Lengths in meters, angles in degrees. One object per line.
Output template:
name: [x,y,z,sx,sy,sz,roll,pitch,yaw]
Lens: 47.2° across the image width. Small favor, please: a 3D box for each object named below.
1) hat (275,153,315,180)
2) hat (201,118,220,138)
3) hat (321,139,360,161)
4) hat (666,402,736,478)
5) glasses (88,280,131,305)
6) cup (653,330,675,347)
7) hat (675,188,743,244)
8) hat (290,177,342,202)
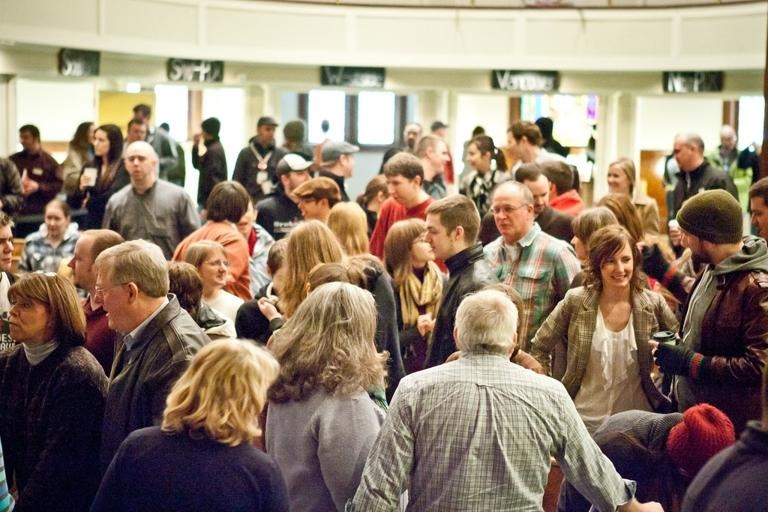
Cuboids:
hat: [-0.846,-0.837,8.311,0.287,0.183,0.218,-18,9,15]
hat: [-2.191,-1.640,11.098,0.228,0.279,0.205,-4,10,-5]
hat: [-0.460,-1.050,8.645,0.276,0.155,0.214,-18,11,-14]
hat: [1.548,0.907,4.525,0.266,0.381,0.378,16,-4,-3]
glasses: [-1.545,0.193,4.956,0.174,0.092,0.145,3,-3,0]
cup: [1.697,0.471,5.308,0.140,0.073,0.298,5,6,19]
hat: [1.956,-0.246,5.271,0.308,0.258,0.318,14,28,40]
hat: [-0.567,-0.558,7.268,0.277,0.150,0.213,5,-7,-8]
